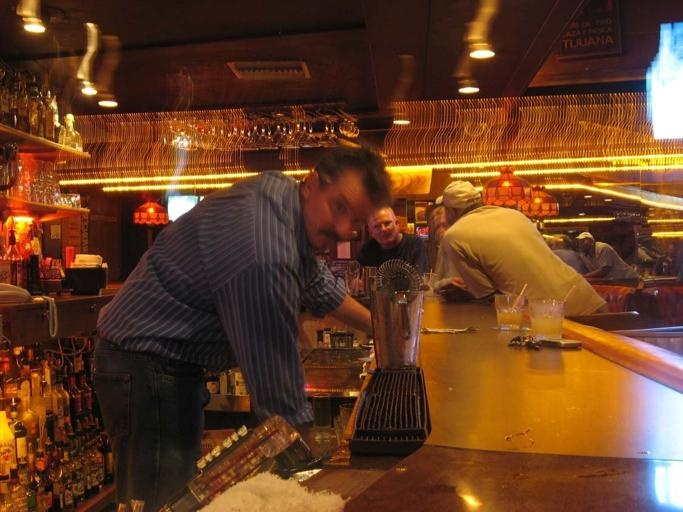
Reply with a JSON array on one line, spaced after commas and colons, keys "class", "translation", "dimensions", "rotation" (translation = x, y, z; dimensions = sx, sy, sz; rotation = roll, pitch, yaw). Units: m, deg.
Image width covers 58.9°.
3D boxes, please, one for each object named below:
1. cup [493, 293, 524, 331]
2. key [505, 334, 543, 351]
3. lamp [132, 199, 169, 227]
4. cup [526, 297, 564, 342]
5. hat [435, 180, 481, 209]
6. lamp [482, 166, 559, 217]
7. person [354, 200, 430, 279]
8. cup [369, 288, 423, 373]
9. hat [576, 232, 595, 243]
[{"class": "cup", "translation": [0.684, 0.240, 2.587], "dimensions": [0.123, 0.163, 0.137], "rotation": [0, -4, 2]}, {"class": "key", "translation": [0.675, 0.318, 2.230], "dimensions": [0.122, 0.035, 0.111], "rotation": [-2, 14, -10]}, {"class": "lamp", "translation": [-3.106, -0.671, 9.922], "dimensions": [0.504, 0.427, 0.558], "rotation": [0, -2, -2]}, {"class": "cup", "translation": [0.756, 0.237, 2.248], "dimensions": [0.122, 0.165, 0.138], "rotation": [0, -4, 0]}, {"class": "hat", "translation": [0.776, -0.402, 4.136], "dimensions": [0.182, 0.125, 0.263], "rotation": [-2, 4, -7]}, {"class": "lamp", "translation": [1.832, -0.660, 6.676], "dimensions": [0.761, 0.488, 0.787], "rotation": [-2, -1, -25]}, {"class": "person", "translation": [0.433, -0.114, 5.241], "dimensions": [0.568, 0.885, 0.579], "rotation": [-9, 1, 4]}, {"class": "cup", "translation": [0.175, 0.237, 1.943], "dimensions": [0.207, 0.351, 0.211], "rotation": [0, -10, 0]}, {"class": "hat", "translation": [3.624, -0.276, 9.020], "dimensions": [0.202, 0.112, 0.150], "rotation": [14, -12, -21]}]
